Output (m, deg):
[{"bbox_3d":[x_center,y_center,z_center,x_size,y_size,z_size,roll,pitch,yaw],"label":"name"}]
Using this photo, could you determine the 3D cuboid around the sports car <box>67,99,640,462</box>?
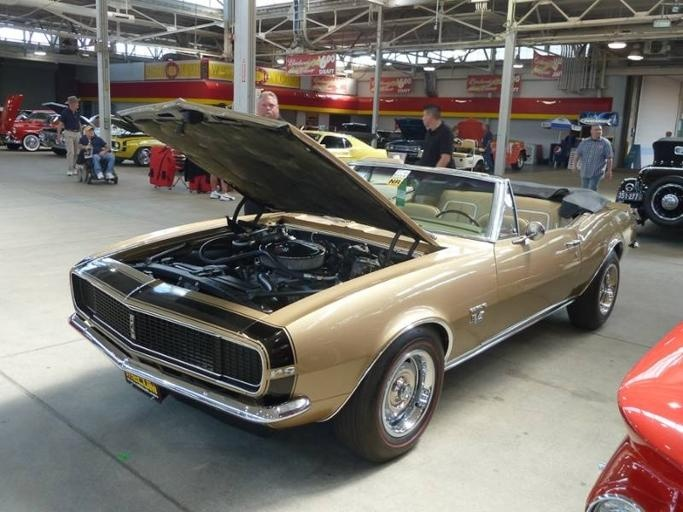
[{"bbox_3d":[0.553,-0.257,4.356,2.421,1.631,5.015,18,25,41],"label":"sports car"}]

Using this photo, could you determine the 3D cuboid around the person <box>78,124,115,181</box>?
[{"bbox_3d":[-6.809,-2.852,13.317,0.955,1.353,1.433,-17,33,-41],"label":"person"}]

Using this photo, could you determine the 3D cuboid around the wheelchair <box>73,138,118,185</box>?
[{"bbox_3d":[-6.912,-2.599,13.464,0.682,1.004,1.592,6,9,22],"label":"wheelchair"}]
